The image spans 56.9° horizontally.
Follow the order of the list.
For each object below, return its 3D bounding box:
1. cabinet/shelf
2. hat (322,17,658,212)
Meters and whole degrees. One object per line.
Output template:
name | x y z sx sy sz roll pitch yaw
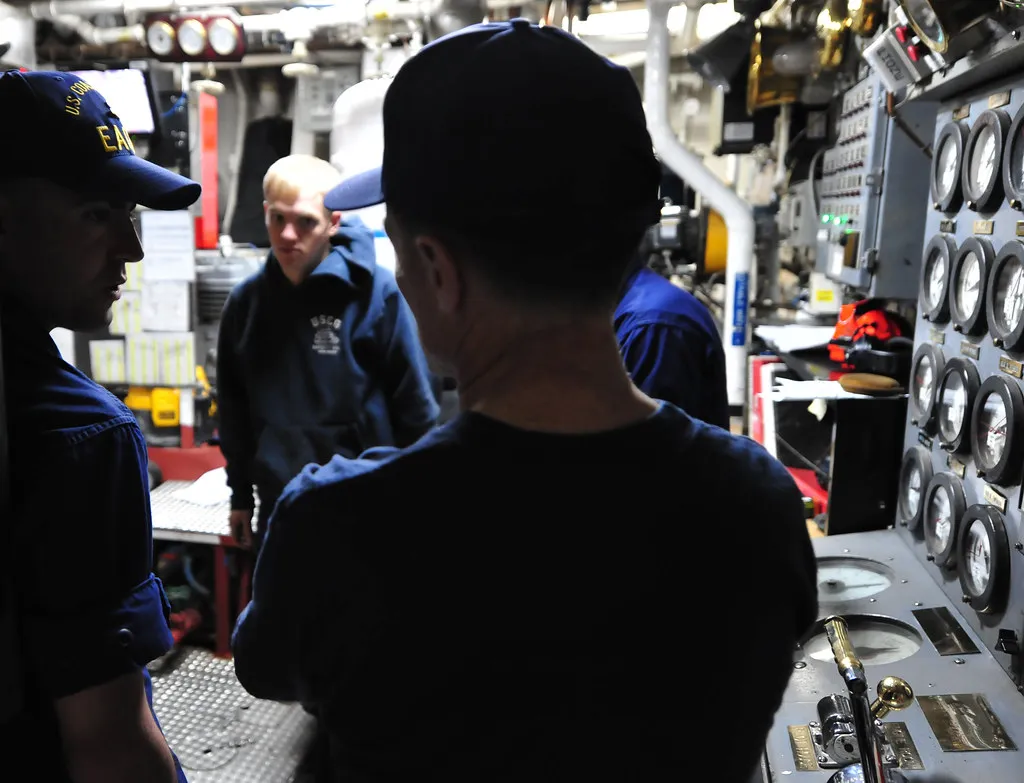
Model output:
cabinet/shelf | 1.043 0.118 3.041 0.192 0.425 0.692 0 14 1
hat | -0.038 -0.415 1.430 0.493 0.274 0.374 -4 3 1
